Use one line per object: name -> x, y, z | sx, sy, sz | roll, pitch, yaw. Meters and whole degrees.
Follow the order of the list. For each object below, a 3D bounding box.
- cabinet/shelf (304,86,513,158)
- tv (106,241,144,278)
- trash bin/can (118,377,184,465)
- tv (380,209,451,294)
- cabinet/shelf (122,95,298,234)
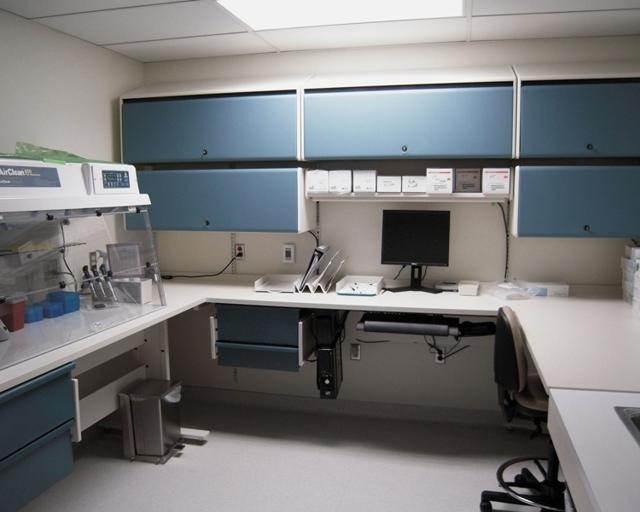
cabinet/shelf -> 0.569, -0.831, 3.392 | 1.357, 0.525, 0.424 | 1, -3, 8
tv -> -1.148, 0.033, 2.966 | 0.196, 0.237, 0.025 | -7, 22, -18
trash bin/can -> -1.144, 1.084, 3.437 | 0.427, 0.534, 0.418 | 1, 5, 7
tv -> 0.673, -0.052, 3.484 | 0.529, 0.682, 0.193 | 1, -4, 11
cabinet/shelf -> -0.733, -0.689, 3.673 | 1.305, 1.034, 0.479 | 1, 8, 12
